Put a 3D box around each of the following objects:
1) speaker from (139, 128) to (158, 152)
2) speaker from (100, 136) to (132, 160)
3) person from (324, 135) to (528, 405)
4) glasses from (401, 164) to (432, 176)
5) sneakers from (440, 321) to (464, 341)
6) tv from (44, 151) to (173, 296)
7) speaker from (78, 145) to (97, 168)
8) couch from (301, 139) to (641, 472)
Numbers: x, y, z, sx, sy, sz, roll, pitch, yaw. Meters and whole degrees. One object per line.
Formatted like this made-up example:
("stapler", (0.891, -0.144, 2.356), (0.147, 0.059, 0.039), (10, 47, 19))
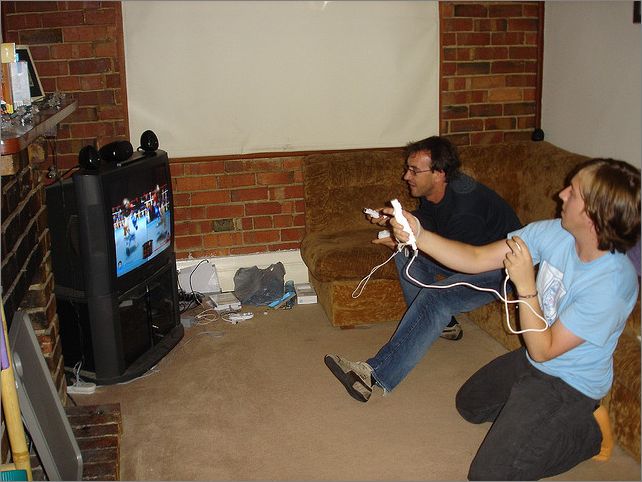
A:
("speaker", (-1.038, -0.601, 3.217), (0.105, 0.122, 0.135), (-11, 19, -24))
("speaker", (-1.107, -0.491, 2.889), (0.127, 0.099, 0.126), (-18, 16, -41))
("person", (0.460, -0.016, 3.370), (1.481, 1.564, 1.127), (-3, 19, -6))
("glasses", (0.592, -0.415, 3.164), (0.124, 0.038, 0.122), (-4, 18, -18))
("sneakers", (0.837, 0.563, 3.402), (0.140, 0.145, 0.062), (-7, 27, 16))
("tv", (-1.242, -0.123, 3.128), (0.516, 0.787, 0.830), (5, 20, 12))
("speaker", (-1.195, -0.429, 2.742), (0.096, 0.124, 0.088), (-11, 19, -24))
("couch", (0.712, 0.092, 3.182), (1.783, 1.102, 1.745), (-4, 18, -9))
